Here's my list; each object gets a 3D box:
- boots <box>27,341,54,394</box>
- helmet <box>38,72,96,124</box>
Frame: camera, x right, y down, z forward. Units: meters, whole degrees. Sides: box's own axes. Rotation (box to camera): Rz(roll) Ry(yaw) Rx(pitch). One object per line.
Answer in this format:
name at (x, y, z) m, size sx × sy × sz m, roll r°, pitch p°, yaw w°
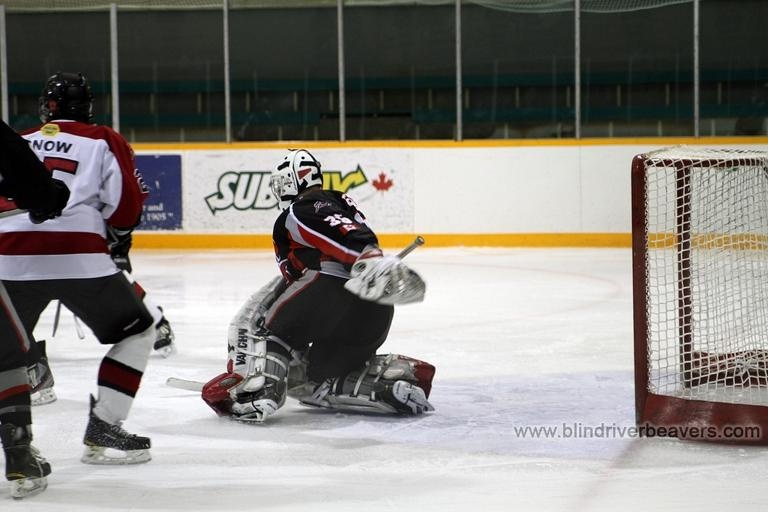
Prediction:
boots at (-2.006, 0.640, 5.661) m, size 0.129 × 0.233 × 0.226 m, roll -6°, pitch 5°, yaw -36°
helmet at (-1.668, -0.819, 5.038) m, size 0.271 × 0.264 × 0.311 m, roll -2°, pitch 15°, yaw -21°
